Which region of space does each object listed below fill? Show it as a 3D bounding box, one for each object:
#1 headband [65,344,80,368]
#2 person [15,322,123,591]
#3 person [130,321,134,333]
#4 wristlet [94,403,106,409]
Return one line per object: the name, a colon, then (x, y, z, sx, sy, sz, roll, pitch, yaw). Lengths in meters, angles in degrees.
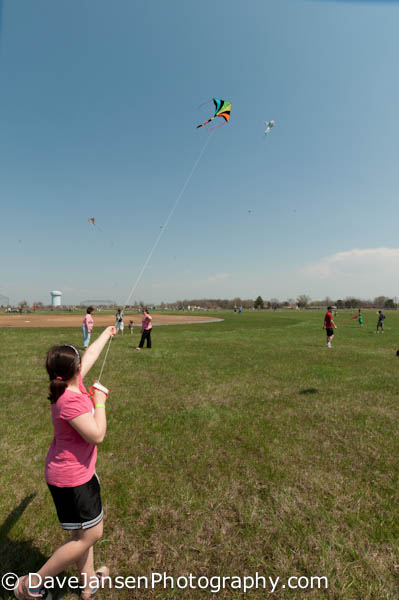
headband: (-1.160, 0.503, 3.718, 0.117, 0.183, 0.200, -5, 8, -38)
person: (-1.229, 1.664, 3.868, 0.705, 2.570, 1.047, -2, 6, -14)
person: (-5.241, 2.079, 30.608, 0.245, 0.250, 0.785, 18, -37, -15)
wristlet: (-0.910, 0.947, 3.602, 0.083, 0.043, 0.085, -2, 7, -14)
